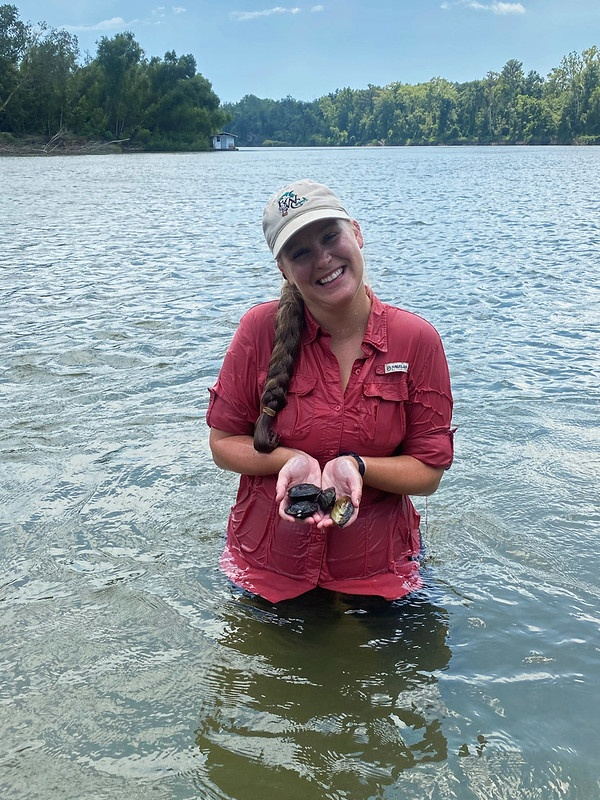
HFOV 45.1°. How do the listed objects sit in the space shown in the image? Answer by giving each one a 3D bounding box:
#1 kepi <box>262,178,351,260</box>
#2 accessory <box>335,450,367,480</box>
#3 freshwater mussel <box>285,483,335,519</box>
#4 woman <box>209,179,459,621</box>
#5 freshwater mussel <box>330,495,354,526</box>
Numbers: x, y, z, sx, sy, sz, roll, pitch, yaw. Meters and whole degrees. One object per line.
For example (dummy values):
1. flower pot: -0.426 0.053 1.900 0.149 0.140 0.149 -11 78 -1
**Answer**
1. kepi: 0.013 -0.695 2.795 0.350 0.307 0.286 2 14 3
2. accessory: 0.195 0.257 2.812 0.088 0.103 0.043 -1 5 0
3. freshwater mussel: 0.039 0.372 2.701 0.152 0.041 0.119 -14 19 -32
4. woman: 0.093 0.015 2.922 1.048 1.733 0.553 4 15 9
5. freshwater mussel: 0.157 0.417 2.702 0.082 0.029 0.108 -7 44 29
